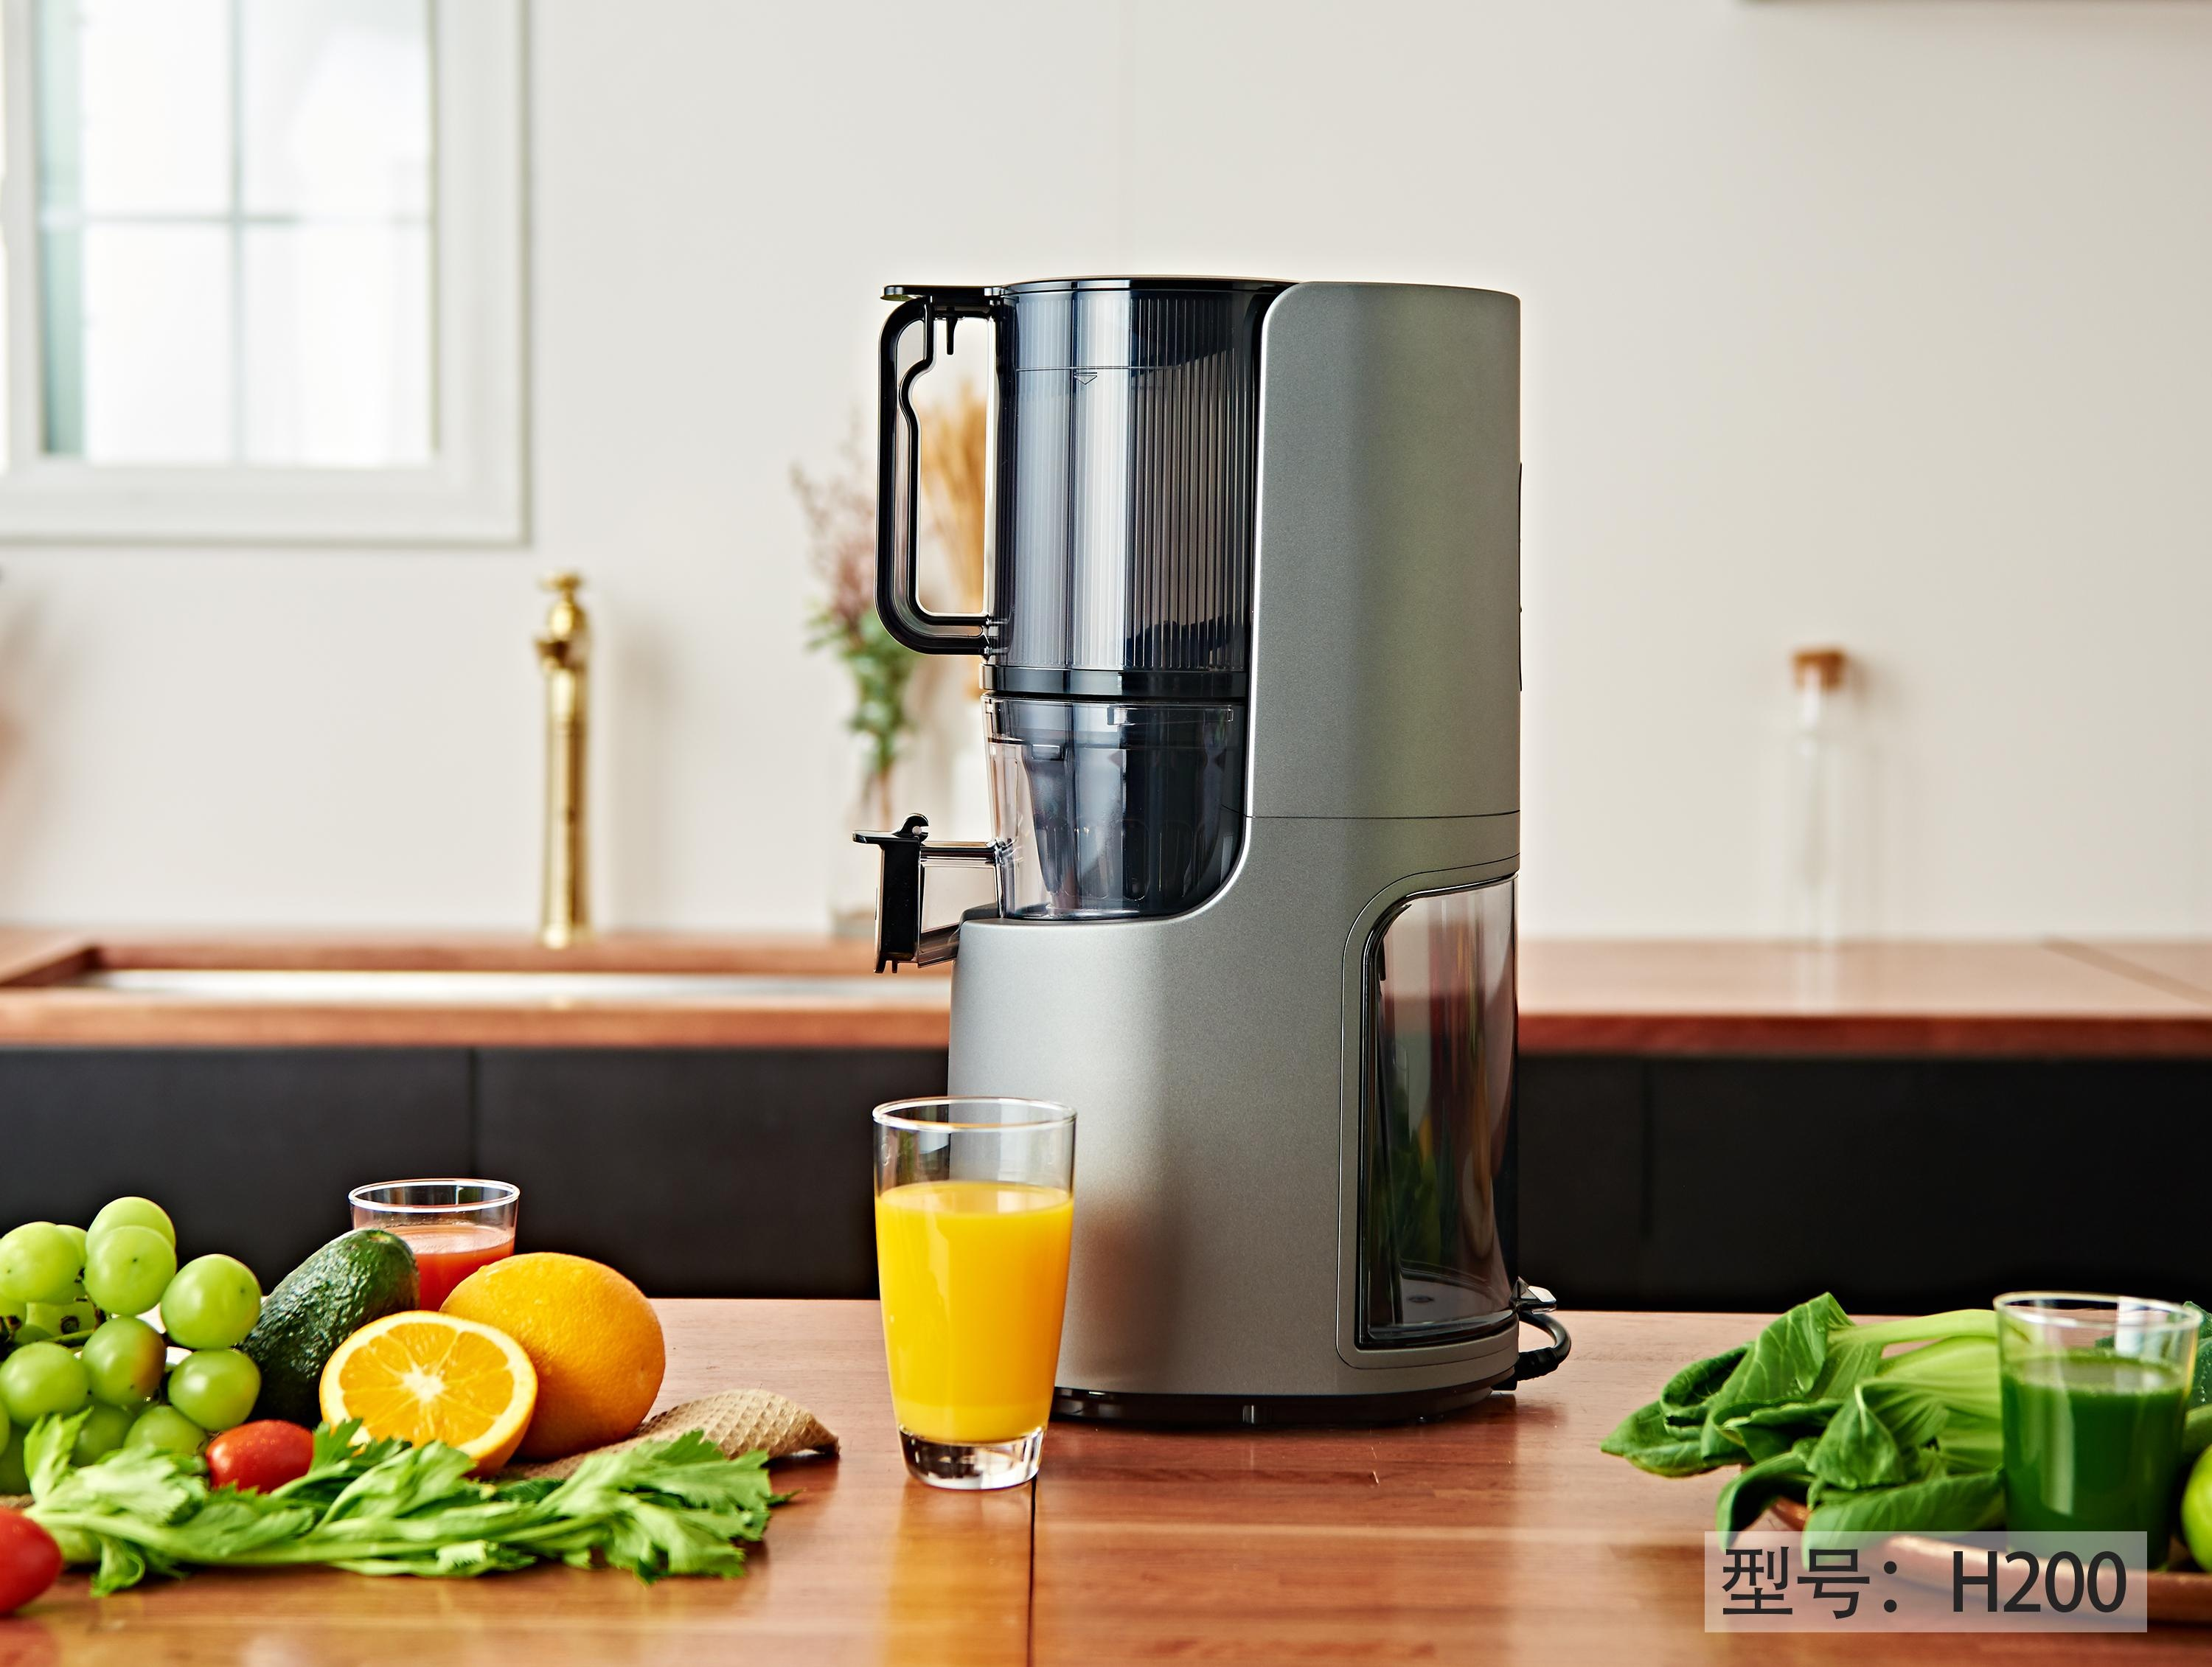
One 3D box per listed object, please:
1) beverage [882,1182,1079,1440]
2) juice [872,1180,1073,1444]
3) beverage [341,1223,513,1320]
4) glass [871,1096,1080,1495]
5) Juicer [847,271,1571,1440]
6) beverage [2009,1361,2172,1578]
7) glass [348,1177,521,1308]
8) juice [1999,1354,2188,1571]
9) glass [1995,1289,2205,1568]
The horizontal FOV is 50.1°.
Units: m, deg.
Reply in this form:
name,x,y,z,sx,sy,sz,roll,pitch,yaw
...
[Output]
name,x,y,z,sx,sy,sz,roll,pitch,yaw
beverage,-0.064,0.229,1.120,0.099,0.128,0.103,2,-7,-17
juice,-0.064,0.226,1.120,0.100,0.129,0.105,0,0,-24
beverage,-0.318,0.205,1.138,0.043,0.041,0.051,0,-6,11
glass,-0.064,0.215,1.122,0.126,0.181,0.136,-3,-7,13
Juicer,0.082,-0.005,1.558,0.492,0.824,0.365,1,-2,3
beverage,0.395,0.254,0.963,0.064,0.083,0.077,0,-4,-2
glass,-0.333,0.194,1.148,0.054,0.053,0.067,0,-5,0
juice,0.414,0.260,0.985,0.066,0.084,0.073,0,-7,8
glass,0.414,0.238,0.990,0.074,0.110,0.079,-10,12,-30
